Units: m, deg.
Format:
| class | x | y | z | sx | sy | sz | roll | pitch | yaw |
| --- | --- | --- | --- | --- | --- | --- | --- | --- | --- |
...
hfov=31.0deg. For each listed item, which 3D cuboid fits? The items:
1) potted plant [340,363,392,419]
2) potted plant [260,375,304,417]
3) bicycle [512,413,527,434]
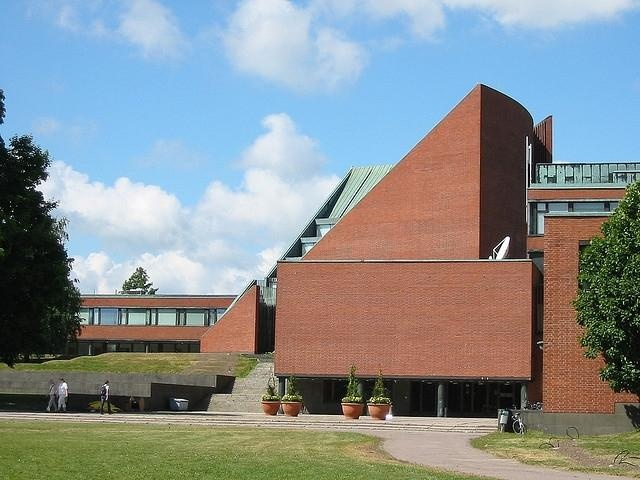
| class | x | y | z | sx | sy | sz | roll | pitch | yaw |
| --- | --- | --- | --- | --- | --- | --- | --- | --- | --- |
| potted plant | 2.545 | 8.122 | 62.375 | 3.471 | 2.872 | 1.699 | 1 | -17 | -4 |
| potted plant | -1.955 | 8.626 | 63.359 | 2.747 | 2.075 | 1.413 | -2 | -14 | 8 |
| bicycle | 9.251 | 8.461 | 53.434 | 0.789 | 1.007 | 0.654 | -7 | -17 | 31 |
